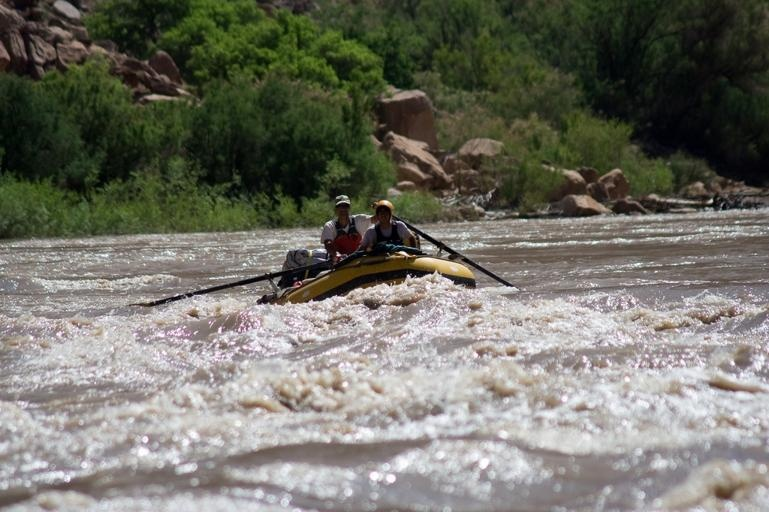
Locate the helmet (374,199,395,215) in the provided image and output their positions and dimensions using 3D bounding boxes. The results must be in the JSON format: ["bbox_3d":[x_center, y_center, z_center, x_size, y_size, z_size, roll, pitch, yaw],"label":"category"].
[{"bbox_3d":[-0.012,-0.961,18.860,0.329,0.240,0.385,0,10,4],"label":"helmet"}]
